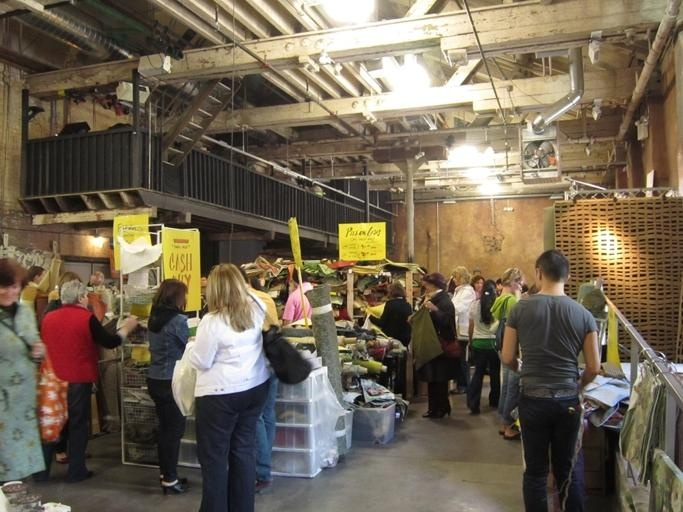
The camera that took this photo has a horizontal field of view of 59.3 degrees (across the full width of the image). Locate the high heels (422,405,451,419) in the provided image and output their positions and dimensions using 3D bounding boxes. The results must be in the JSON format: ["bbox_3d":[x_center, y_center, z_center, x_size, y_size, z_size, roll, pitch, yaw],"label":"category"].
[{"bbox_3d":[1.285,2.142,8.244,0.399,0.167,0.147,7,-13,-2],"label":"high heels"}]

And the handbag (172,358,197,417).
[{"bbox_3d":[-1.426,1.195,5.461,0.232,0.590,0.493,1,-37,-20],"label":"handbag"}]

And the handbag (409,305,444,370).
[{"bbox_3d":[1.159,1.092,8.058,0.138,0.993,0.576,30,-52,-34],"label":"handbag"}]

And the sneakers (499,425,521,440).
[{"bbox_3d":[2.044,2.142,7.255,0.272,0.195,0.092,-9,1,16],"label":"sneakers"}]

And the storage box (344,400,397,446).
[{"bbox_3d":[0.473,2.094,7.390,0.845,0.422,0.855,-2,-14,16],"label":"storage box"}]
